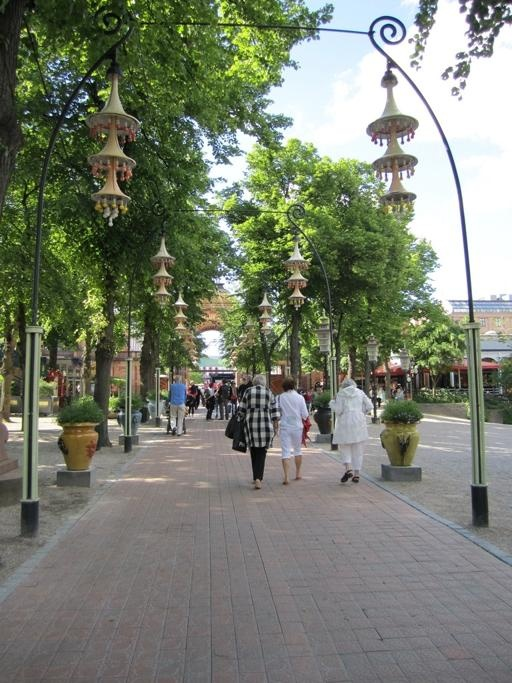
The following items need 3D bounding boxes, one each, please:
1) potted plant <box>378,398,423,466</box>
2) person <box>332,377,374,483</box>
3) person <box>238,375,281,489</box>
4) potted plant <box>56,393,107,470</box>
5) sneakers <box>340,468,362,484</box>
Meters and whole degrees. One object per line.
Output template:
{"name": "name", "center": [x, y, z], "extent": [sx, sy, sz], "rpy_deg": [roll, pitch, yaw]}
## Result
{"name": "potted plant", "center": [2.276, 1.450, 10.354], "extent": [0.760, 0.963, 0.709], "rpy_deg": [-1, -8, 21]}
{"name": "person", "center": [1.513, 1.372, 10.259], "extent": [0.625, 1.628, 0.967], "rpy_deg": [-2, -5, 8]}
{"name": "person", "center": [0.066, 1.314, 9.715], "extent": [0.548, 1.679, 0.523], "rpy_deg": [3, -7, -37]}
{"name": "potted plant", "center": [-2.723, 1.430, 9.941], "extent": [0.644, 1.070, 0.740], "rpy_deg": [0, -6, -16]}
{"name": "sneakers", "center": [1.443, 2.066, 9.968], "extent": [0.174, 0.166, 0.395], "rpy_deg": [0, -8, 0]}
